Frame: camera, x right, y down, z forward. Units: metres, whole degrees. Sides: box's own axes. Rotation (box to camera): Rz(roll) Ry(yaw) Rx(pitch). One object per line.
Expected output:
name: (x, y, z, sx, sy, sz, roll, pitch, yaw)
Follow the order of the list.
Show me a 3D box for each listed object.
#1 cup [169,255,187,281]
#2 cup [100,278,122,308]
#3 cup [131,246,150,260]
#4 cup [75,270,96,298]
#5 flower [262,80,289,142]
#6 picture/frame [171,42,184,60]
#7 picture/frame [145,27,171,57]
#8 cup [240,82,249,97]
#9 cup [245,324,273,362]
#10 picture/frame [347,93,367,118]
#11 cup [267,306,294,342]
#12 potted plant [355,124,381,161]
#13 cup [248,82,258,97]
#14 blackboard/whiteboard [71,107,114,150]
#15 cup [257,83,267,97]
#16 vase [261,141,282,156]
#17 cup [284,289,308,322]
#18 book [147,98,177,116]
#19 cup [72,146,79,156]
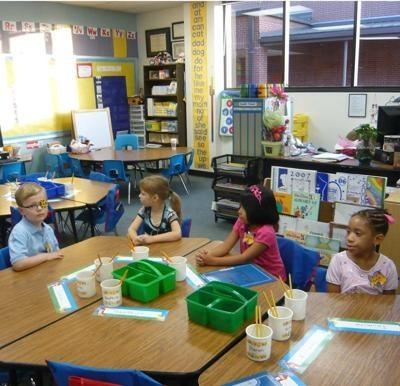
cup: (-0.103, 0.361, 1.653, 0.088, 0.089, 0.104, -9, 14, -31)
cup: (-0.373, 0.417, 1.429, 0.094, 0.080, 0.111, 0, 6, -6)
cup: (-0.328, 0.313, 1.802, 0.068, 0.048, 0.067, 0, 7, 0)
cup: (-0.508, 0.410, 1.547, 0.080, 0.089, 0.123, 1, 6, -2)
flower: (0.963, -1.026, 4.278, 0.319, 0.739, 0.522, 2, 10, 13)
picture/frame: (-0.506, -3.168, 7.494, 0.477, 0.464, 0.032, 9, 14, 36)
picture/frame: (-0.967, -3.506, 7.786, 0.902, 0.723, 0.069, 9, 17, 35)
cup: (0.597, -1.369, 4.533, 0.105, 0.182, 0.112, 0, 10, 0)
cup: (0.179, 0.475, 1.123, 0.100, 0.093, 0.099, -1, 12, 0)
picture/frame: (2.525, -1.412, 5.403, 0.369, 0.474, 0.050, 11, 19, 41)
cup: (0.273, 0.446, 1.190, 0.091, 0.081, 0.111, -4, 11, -12)
potted plant: (1.866, -0.552, 3.774, 0.206, 0.406, 0.646, 5, 11, 27)
cup: (0.697, -1.350, 4.474, 0.131, 0.177, 0.093, 1, 10, 7)
blackboard/whiteboard: (-2.298, -1.339, 7.054, 1.028, 1.159, 0.079, -11, 8, -44)
cup: (0.853, -1.374, 4.524, 0.159, 0.174, 0.152, -1, 10, 0)
vase: (0.876, -0.541, 4.137, 0.192, 0.158, 0.221, 3, 14, 21)
cup: (0.364, 0.421, 1.315, 0.095, 0.088, 0.117, 2, 19, 10)
book: (-0.850, -1.962, 7.716, 0.940, 0.433, 0.210, 7, 12, 37)
cup: (-2.273, -0.751, 6.073, 0.172, 0.145, 0.129, 2, 9, 27)
